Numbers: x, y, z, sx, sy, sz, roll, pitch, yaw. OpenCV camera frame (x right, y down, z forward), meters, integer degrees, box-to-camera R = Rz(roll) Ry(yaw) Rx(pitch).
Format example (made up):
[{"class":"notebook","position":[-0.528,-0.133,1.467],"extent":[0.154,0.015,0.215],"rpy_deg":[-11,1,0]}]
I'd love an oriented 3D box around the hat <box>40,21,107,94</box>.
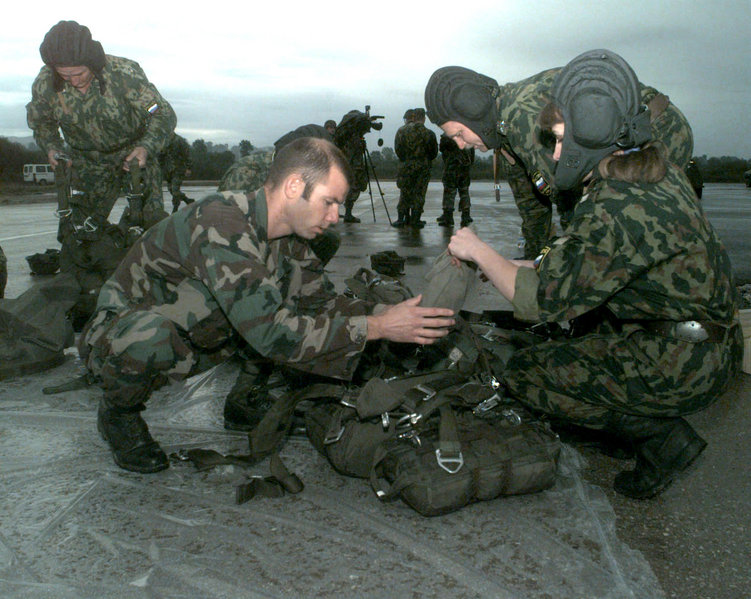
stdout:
[{"class":"hat","position":[-2.438,-1.966,4.477],"extent":[0.430,0.439,0.484],"rpy_deg":[-3,16,-15]}]

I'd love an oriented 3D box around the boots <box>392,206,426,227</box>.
[{"class":"boots","position":[0.661,-1.647,11.614],"extent":[0.560,0.481,0.558],"rpy_deg":[-2,-6,2]}]

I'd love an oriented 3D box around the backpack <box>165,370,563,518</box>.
[{"class":"backpack","position":[0.156,0.571,2.292],"extent":[0.949,0.258,0.842],"rpy_deg":[-1,4,-27]}]

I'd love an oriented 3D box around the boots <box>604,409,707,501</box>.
[{"class":"boots","position":[1.237,0.686,2.493],"extent":[0.329,0.133,0.312],"rpy_deg":[26,-13,-37]}]

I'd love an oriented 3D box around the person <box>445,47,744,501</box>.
[{"class":"person","position":[1.001,-0.090,2.273],"extent":[1.080,1.778,0.448],"rpy_deg":[4,17,10]}]

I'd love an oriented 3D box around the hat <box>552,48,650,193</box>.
[{"class":"hat","position":[0.895,-0.716,2.215],"extent":[0.342,0.545,0.282],"rpy_deg":[-2,17,-14]}]
